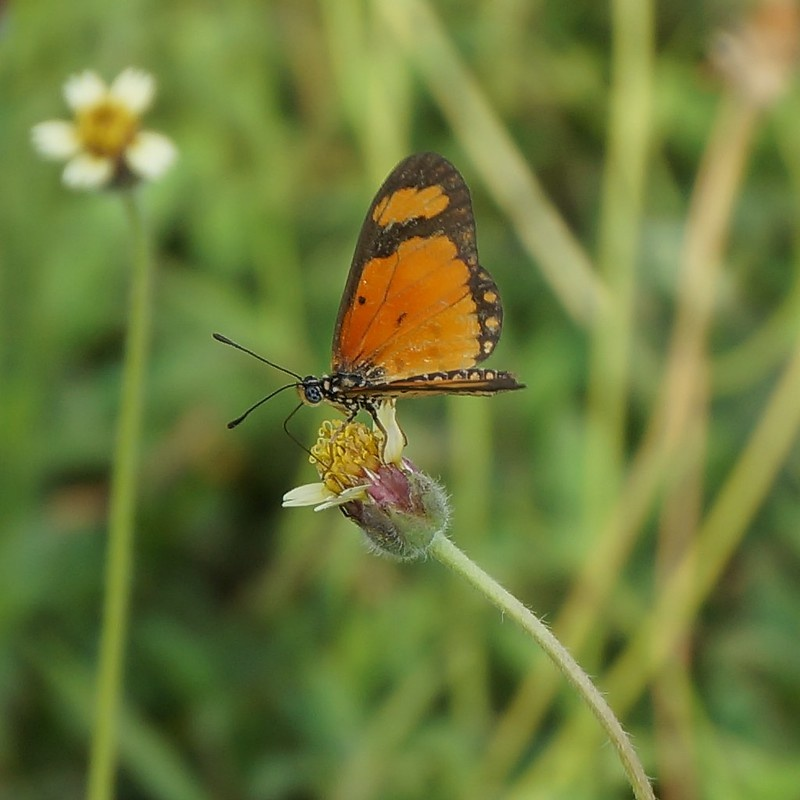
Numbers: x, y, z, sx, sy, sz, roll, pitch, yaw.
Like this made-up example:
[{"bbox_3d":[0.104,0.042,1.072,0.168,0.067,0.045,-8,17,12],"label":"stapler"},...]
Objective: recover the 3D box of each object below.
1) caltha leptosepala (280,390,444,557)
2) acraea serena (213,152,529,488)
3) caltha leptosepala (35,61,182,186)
[{"bbox_3d":[-0.057,0.100,1.305,0.108,0.167,0.090,-49,-42,14],"label":"caltha leptosepala"},{"bbox_3d":[-0.021,-0.128,1.261,0.199,0.326,0.411,2,-68,22],"label":"acraea serena"},{"bbox_3d":[-0.410,-0.375,1.396,0.192,0.113,0.140,-3,-69,4],"label":"caltha leptosepala"}]
